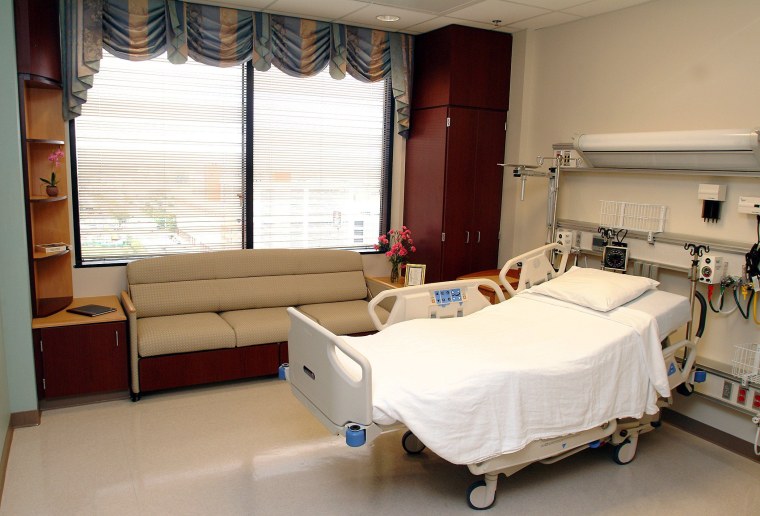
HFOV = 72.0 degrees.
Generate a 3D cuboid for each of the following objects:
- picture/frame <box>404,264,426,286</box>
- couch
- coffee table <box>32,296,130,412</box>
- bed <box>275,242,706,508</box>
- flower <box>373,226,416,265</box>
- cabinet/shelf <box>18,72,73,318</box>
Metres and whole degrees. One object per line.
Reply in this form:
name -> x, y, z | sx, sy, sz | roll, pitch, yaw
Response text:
picture/frame -> 0.352, 0.182, 5.360 | 0.218, 0.269, 0.028 | 3, 7, -6
couch -> -1.216, 0.592, 5.463 | 2.680, 1.122, 1.042 | -3, 14, -33
coffee table -> -2.776, 0.877, 4.850 | 0.840, 0.697, 0.881 | 9, 10, 40
bed -> 0.890, 0.705, 3.960 | 2.820, 1.397, 1.662 | -9, 15, -27
flower -> 0.207, -0.115, 6.114 | 0.413, 0.436, 0.400 | 16, -1, 12
cabinet/shelf -> -2.948, -0.507, 4.629 | 0.421, 2.005, 0.778 | -7, 12, -29
